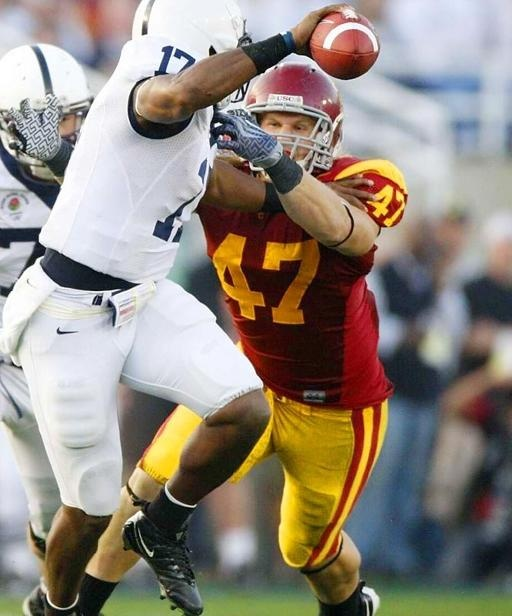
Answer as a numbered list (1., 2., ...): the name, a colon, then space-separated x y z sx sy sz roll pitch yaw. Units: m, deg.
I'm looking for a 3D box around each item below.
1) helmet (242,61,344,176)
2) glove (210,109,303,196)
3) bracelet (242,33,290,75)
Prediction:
1. helmet: 0.133 -0.532 2.296 0.277 0.253 0.320 3 -5 7
2. glove: -0.001 -0.366 1.881 0.187 0.197 0.170 -1 13 3
3. bracelet: 0.030 -0.557 1.746 0.058 0.091 0.186 14 20 28
